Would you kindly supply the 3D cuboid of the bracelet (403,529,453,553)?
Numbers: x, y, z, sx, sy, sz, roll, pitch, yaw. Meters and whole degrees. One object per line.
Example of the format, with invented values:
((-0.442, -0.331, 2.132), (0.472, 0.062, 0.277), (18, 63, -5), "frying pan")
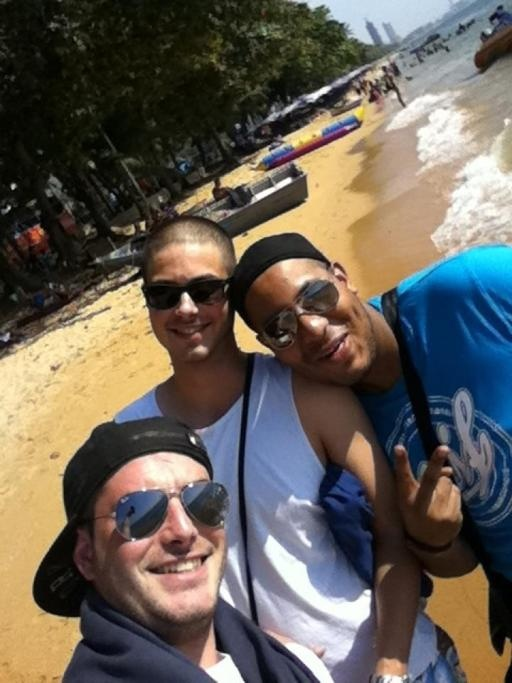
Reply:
((0.717, 0.826, 2.331), (0.101, 0.125, 0.045), (-2, 42, 26), "bracelet")

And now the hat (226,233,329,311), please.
((0.141, -0.356, 2.938), (0.437, 0.241, 0.437), (-41, -4, 15), "hat")
